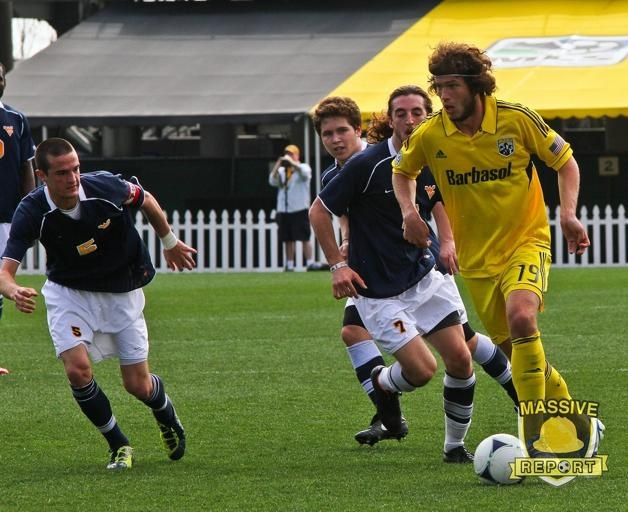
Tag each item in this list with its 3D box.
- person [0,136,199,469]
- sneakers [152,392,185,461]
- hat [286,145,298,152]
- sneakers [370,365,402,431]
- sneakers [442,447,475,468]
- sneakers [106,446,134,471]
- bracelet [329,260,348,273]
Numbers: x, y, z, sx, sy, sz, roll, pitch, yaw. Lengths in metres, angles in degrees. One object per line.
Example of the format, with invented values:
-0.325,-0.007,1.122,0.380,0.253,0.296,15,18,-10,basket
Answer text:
-1.856,0.362,12.375,1.516,2.705,0.923,-3,10,-6,person
-1.190,1.451,12.470,0.194,0.562,0.247,-21,5,21,sneakers
-0.342,-1.650,22.763,0.178,0.122,0.201,8,0,-5,hat
0.610,1.217,12.550,0.196,0.562,0.240,-19,14,-23,sneakers
1.198,1.658,12.260,0.284,0.120,0.108,-2,0,18,sneakers
-1.625,1.669,12.277,0.208,0.153,0.193,-3,10,-8,sneakers
0.197,0.088,12.495,0.098,0.027,0.102,-28,-5,24,bracelet
